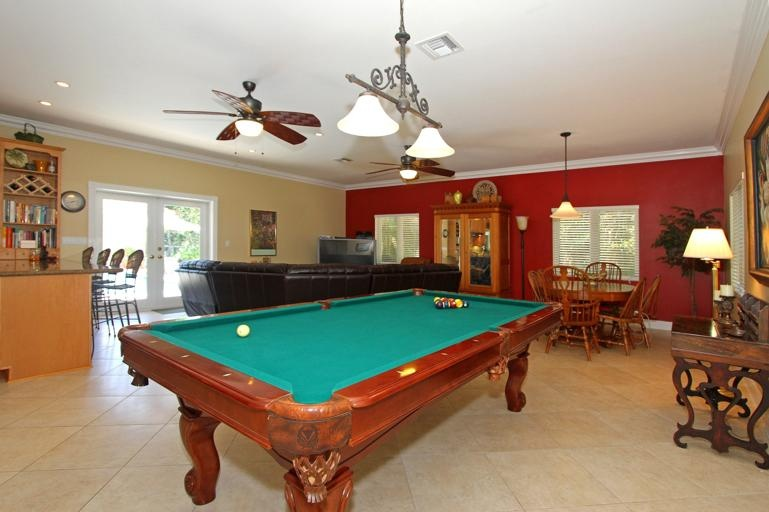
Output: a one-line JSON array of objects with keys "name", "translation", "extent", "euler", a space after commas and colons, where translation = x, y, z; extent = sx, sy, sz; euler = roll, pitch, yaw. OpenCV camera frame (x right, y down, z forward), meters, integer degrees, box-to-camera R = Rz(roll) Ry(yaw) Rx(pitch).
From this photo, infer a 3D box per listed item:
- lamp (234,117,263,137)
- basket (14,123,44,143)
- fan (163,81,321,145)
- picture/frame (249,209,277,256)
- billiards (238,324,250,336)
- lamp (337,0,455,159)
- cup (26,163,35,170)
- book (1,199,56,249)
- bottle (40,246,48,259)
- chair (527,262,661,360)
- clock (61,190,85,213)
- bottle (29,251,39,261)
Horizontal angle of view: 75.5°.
[{"name": "lamp", "translation": [-1.451, -1.378, 5.349], "extent": [0.297, 0.109, 0.288], "euler": [-2, 1, -14]}, {"name": "basket", "translation": [-4.854, -1.669, 6.760], "extent": [0.364, 0.306, 0.146], "euler": [-7, 21, -37]}, {"name": "fan", "translation": [-1.374, -1.479, 5.427], "extent": [1.086, 0.375, 1.054], "euler": [2, 0, 19]}, {"name": "picture/frame", "translation": [-2.336, -0.443, 9.633], "extent": [0.084, 0.894, 0.628], "euler": [-1, 2, 36]}, {"name": "billiards", "translation": [-1.134, 0.598, 3.968], "extent": [0.085, 0.045, 0.084], "euler": [34, 31, 2]}, {"name": "lamp", "translation": [0.153, -1.842, 5.029], "extent": [0.523, 1.555, 1.472], "euler": [-1, -3, 36]}, {"name": "cup", "translation": [-4.753, -1.195, 6.688], "extent": [0.096, 0.085, 0.090], "euler": [5, 7, -1]}, {"name": "book", "translation": [-4.805, -0.438, 6.669], "extent": [0.239, 0.675, 0.737], "euler": [0, -1, 19]}, {"name": "bottle", "translation": [-4.479, -0.042, 6.534], "extent": [0.074, 0.144, 0.101], "euler": [-3, 2, -34]}, {"name": "chair", "translation": [2.756, 0.695, 6.680], "extent": [1.445, 0.870, 1.397], "euler": [-1, 2, -26]}, {"name": "clock", "translation": [-4.597, -0.798, 7.349], "extent": [0.285, 0.279, 0.283], "euler": [-6, 24, 36]}, {"name": "bottle", "translation": [-4.513, -0.003, 6.412], "extent": [0.103, 0.126, 0.254], "euler": [-3, 1, -32]}]
